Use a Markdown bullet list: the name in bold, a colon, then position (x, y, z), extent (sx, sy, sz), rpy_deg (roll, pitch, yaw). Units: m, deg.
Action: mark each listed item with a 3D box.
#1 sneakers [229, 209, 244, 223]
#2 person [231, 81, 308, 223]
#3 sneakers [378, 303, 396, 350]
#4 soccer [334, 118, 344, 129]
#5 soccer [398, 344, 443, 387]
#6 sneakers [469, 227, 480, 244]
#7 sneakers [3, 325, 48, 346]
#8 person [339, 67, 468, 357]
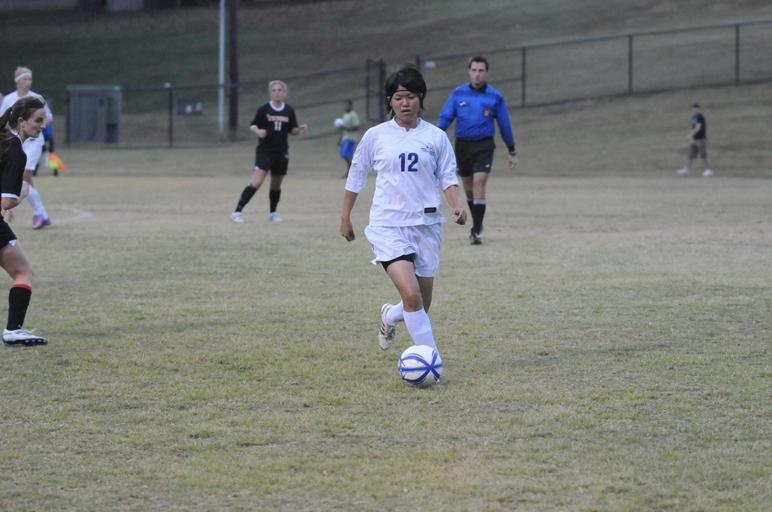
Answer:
- **sneakers**: position (-1.610, -0.424, 15.207), extent (0.088, 0.070, 0.168), rpy_deg (3, 5, -36)
- **person**: position (-1.246, -1.083, 14.984), extent (0.810, 1.509, 1.524), rpy_deg (-3, 7, -4)
- **sneakers**: position (-0.015, 0.516, 10.478), extent (0.128, 0.323, 0.156), rpy_deg (-3, 26, -9)
- **soccer**: position (-0.756, -2.133, 22.757), extent (0.184, 0.140, 0.177), rpy_deg (7, 1, -29)
- **soccer**: position (0.236, 0.760, 9.957), extent (0.307, 0.260, 0.303), rpy_deg (8, 1, 32)
- **sneakers**: position (0.864, -0.200, 13.930), extent (0.068, 0.165, 0.074), rpy_deg (-1, 46, 6)
- **sneakers**: position (-2.707, 0.602, 10.647), extent (0.364, 0.142, 0.121), rpy_deg (0, -1, -6)
- **person**: position (0.111, -0.351, 10.096), extent (0.868, 1.970, 0.444), rpy_deg (-2, 8, 1)
